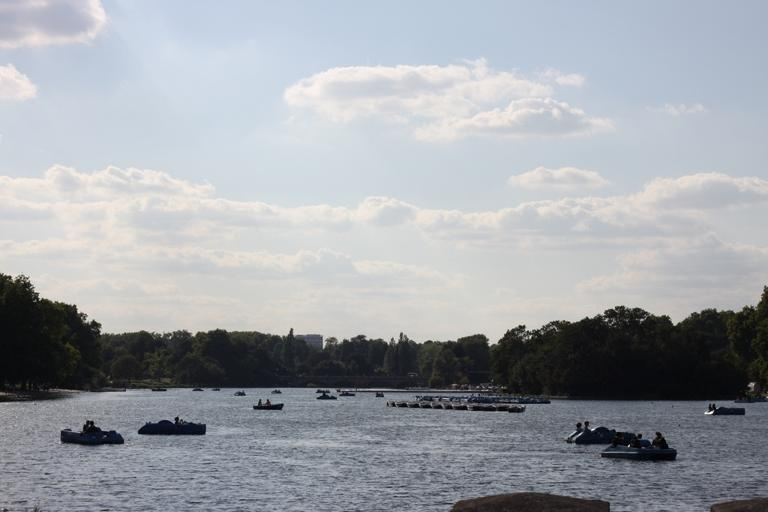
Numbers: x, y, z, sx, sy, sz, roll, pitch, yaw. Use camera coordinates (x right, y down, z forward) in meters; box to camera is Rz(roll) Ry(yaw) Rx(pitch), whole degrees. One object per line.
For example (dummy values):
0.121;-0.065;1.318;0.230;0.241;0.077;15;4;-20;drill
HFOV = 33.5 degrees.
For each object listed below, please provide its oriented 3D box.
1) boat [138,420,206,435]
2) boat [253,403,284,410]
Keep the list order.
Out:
-35.366;29.131;213.290;10.012;2.351;3.045;4;-12;-16;boat
-25.787;33.814;279.968;6.824;1.485;2.519;-3;-3;13;boat
